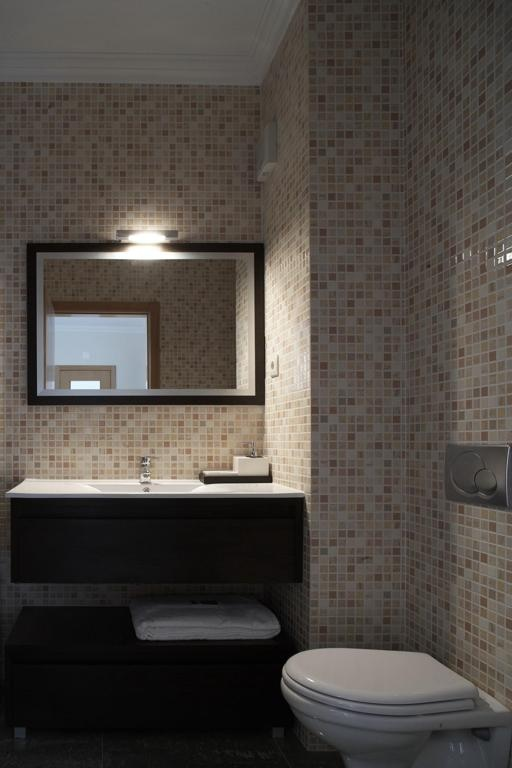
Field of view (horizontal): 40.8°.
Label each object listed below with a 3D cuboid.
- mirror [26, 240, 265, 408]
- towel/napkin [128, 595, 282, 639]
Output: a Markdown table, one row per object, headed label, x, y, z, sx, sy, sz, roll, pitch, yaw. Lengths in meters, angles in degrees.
| label | x | y | z | sx | sy | sz | roll | pitch | yaw |
| --- | --- | --- | --- | --- | --- | --- | --- | --- | --- |
| mirror | -0.465 | -0.248 | 2.958 | 0.990 | 0.835 | 0.041 | -2 | 35 | -13 |
| towel/napkin | -0.194 | 0.835 | 2.479 | 0.519 | 0.070 | 0.369 | -1 | 0 | -8 |
